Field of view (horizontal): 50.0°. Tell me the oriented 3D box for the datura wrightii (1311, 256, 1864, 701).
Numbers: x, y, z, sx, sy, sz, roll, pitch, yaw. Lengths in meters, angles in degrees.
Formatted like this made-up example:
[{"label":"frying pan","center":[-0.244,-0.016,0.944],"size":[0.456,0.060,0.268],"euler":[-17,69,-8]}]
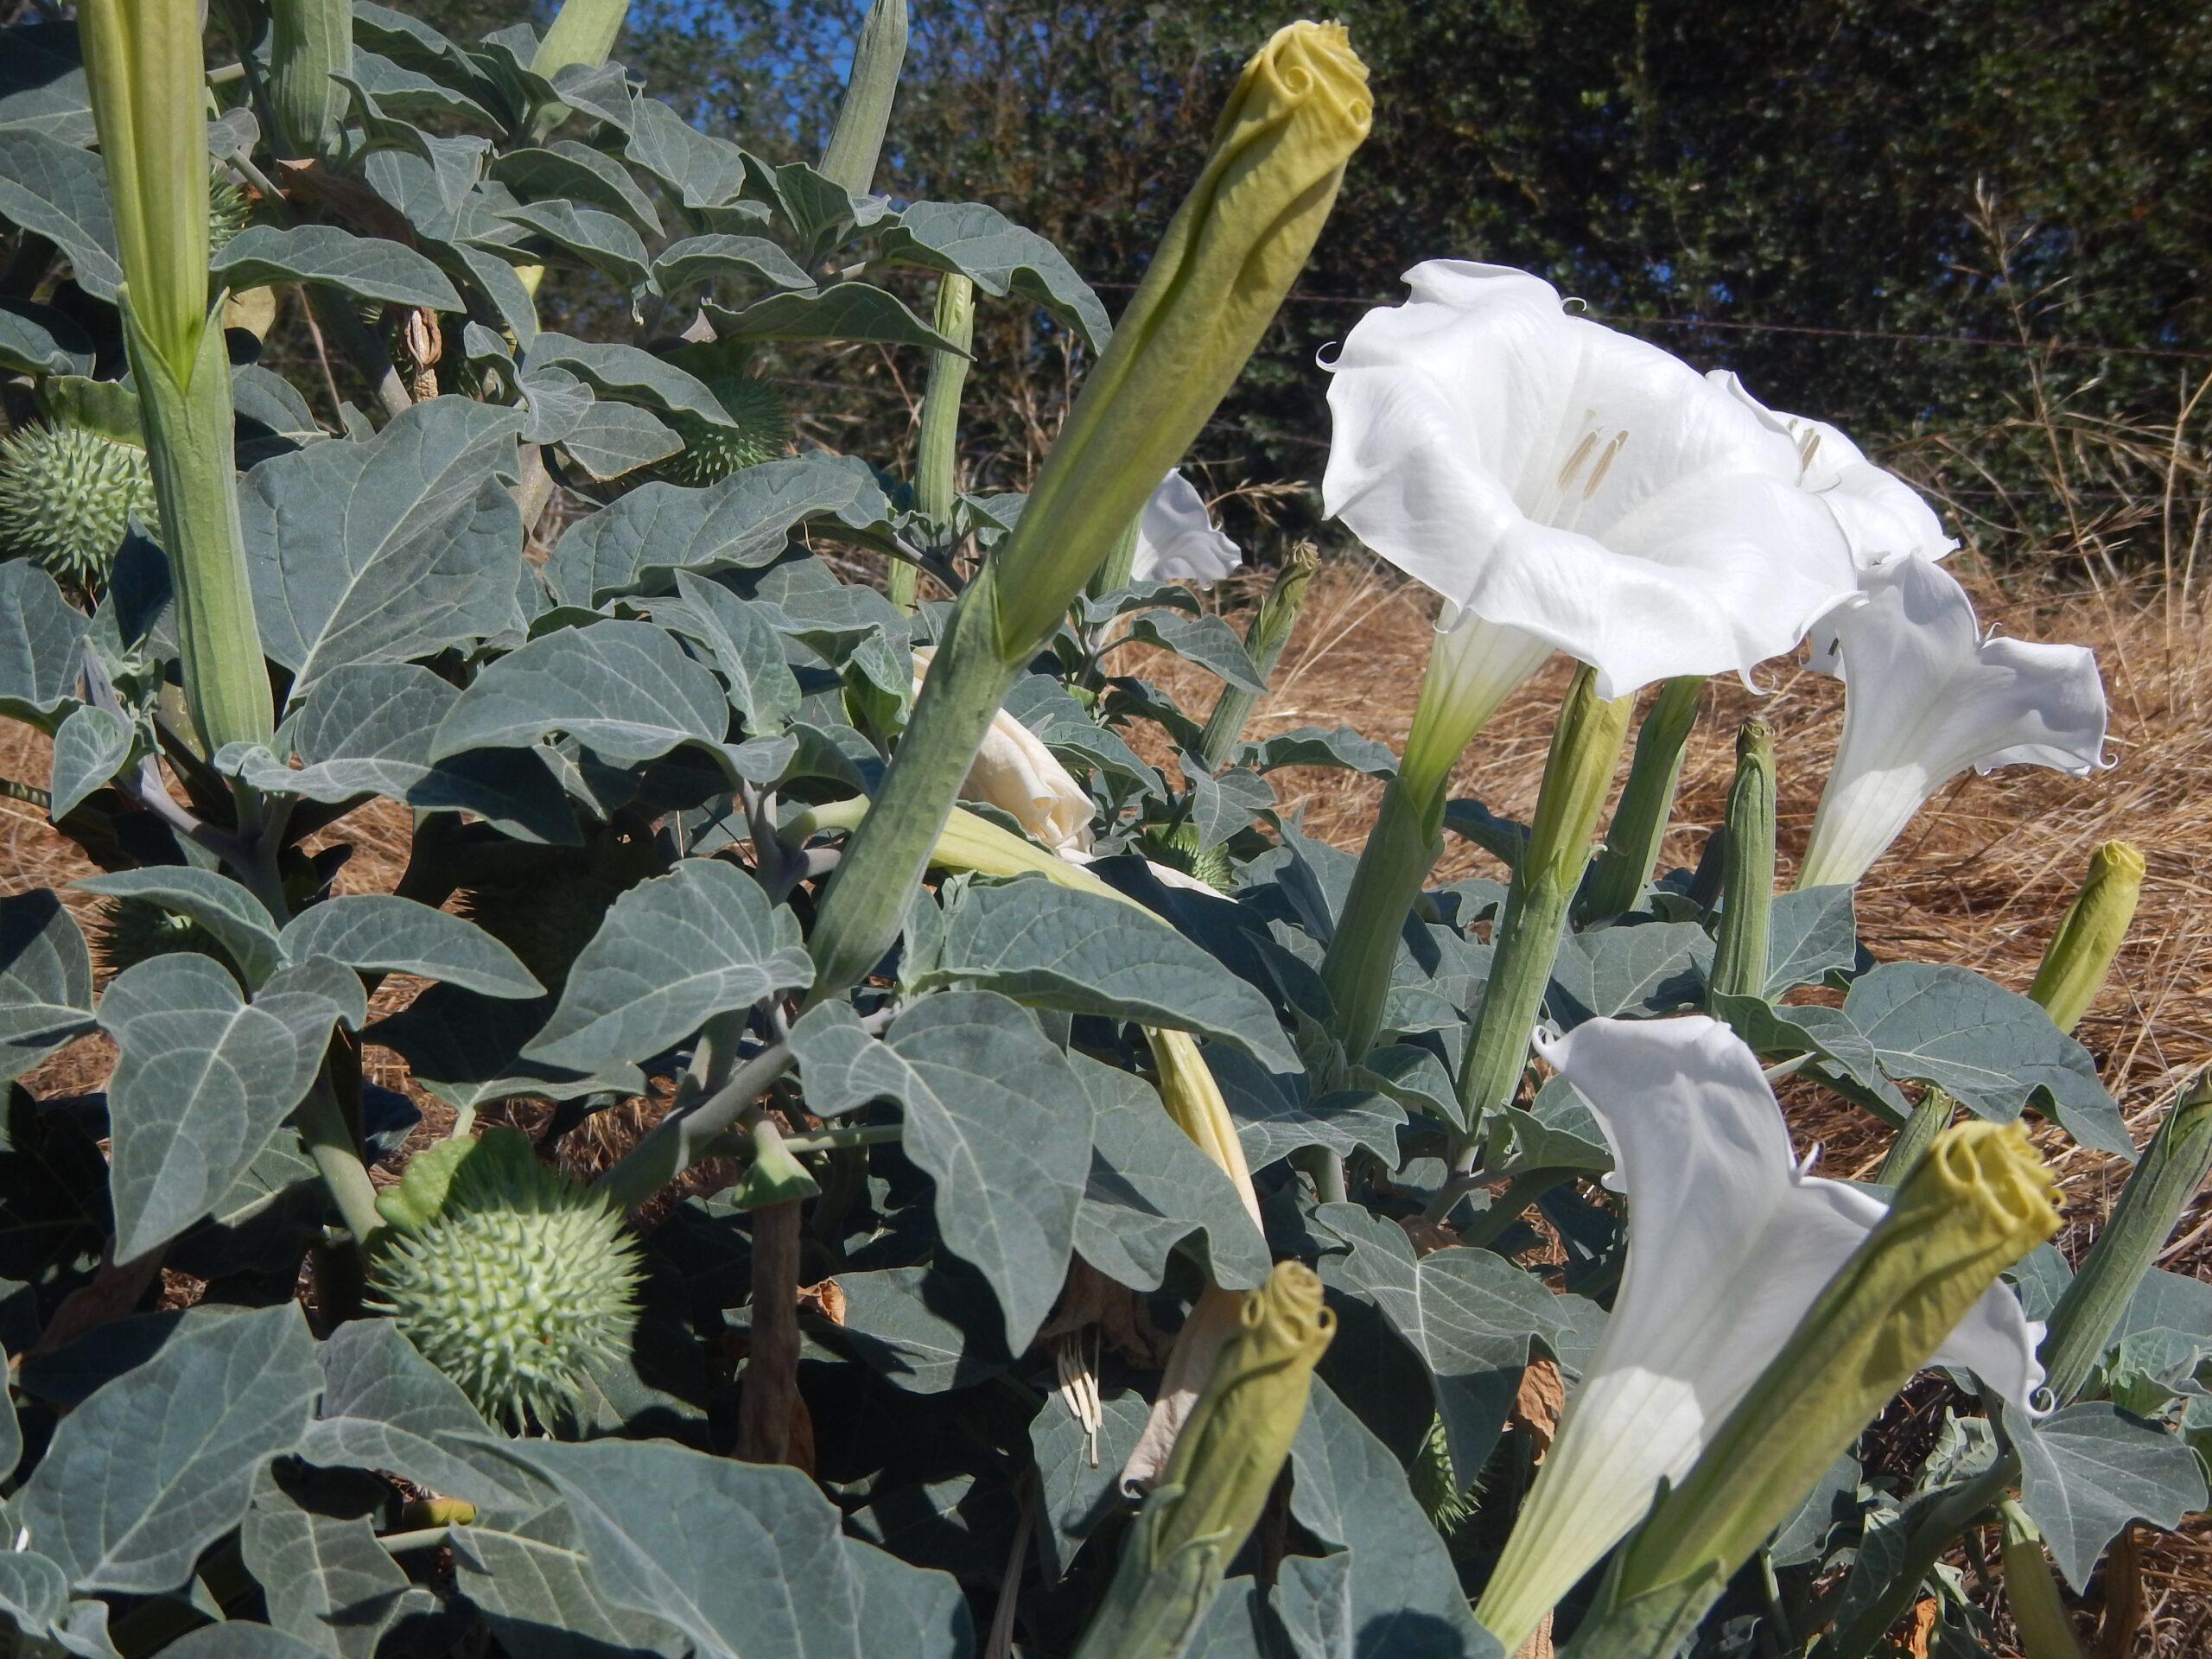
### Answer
[{"label":"datura wrightii","center":[0.388,-0.274,1.886],"size":[0.435,0.150,0.415],"euler":[27,21,7]}]
